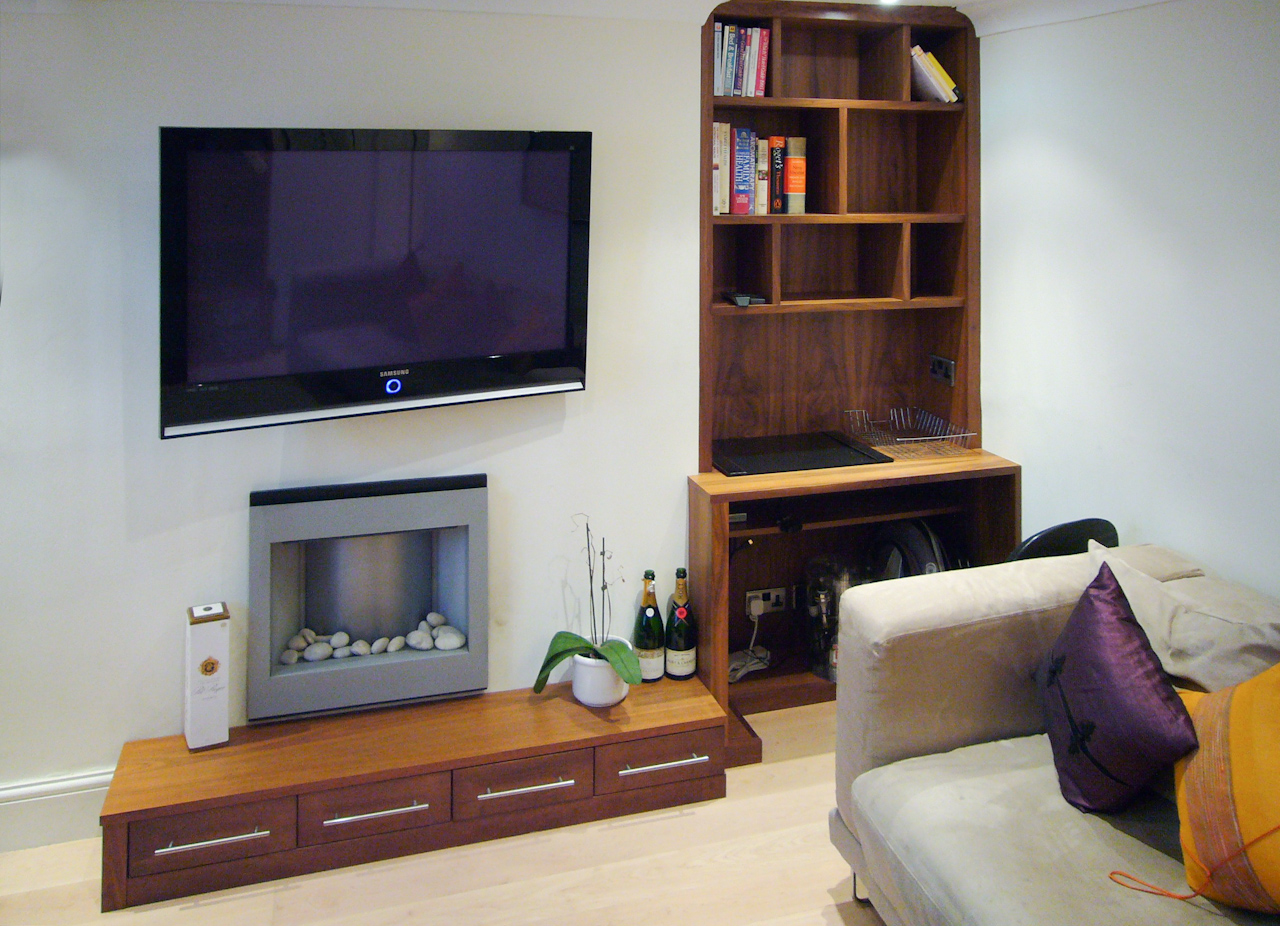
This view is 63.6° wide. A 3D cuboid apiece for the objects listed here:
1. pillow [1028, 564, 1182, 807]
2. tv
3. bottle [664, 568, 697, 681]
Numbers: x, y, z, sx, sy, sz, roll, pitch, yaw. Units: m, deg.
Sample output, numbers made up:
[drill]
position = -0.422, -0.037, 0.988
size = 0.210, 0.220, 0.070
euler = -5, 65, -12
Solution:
[pillow]
position = 1.204, 0.589, 2.664
size = 0.193, 0.489, 0.349
euler = 0, -37, -8
[tv]
position = -0.844, -0.585, 3.126
size = 0.900, 0.665, 0.039
euler = -3, 11, -23
[bottle]
position = 0.144, 0.555, 3.653
size = 0.110, 0.392, 0.111
euler = -3, 2, 0
